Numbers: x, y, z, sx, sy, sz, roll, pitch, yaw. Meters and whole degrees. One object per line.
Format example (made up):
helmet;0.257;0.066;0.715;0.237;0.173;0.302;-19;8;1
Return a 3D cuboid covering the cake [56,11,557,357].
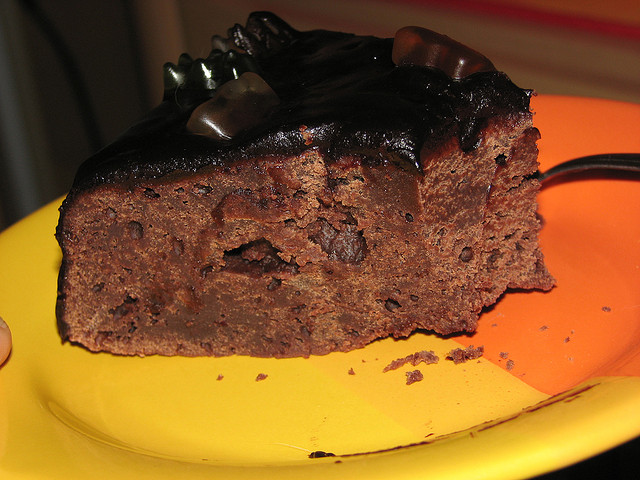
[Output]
cake;-0.019;-0.084;1.794;1.125;0.543;0.907;8;30;14
